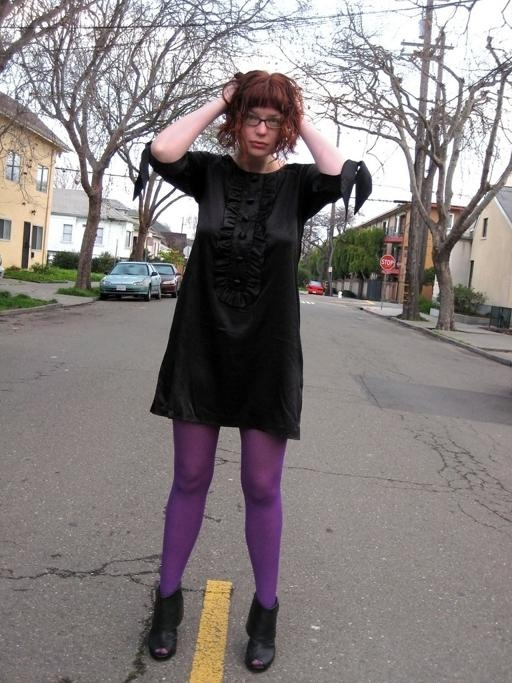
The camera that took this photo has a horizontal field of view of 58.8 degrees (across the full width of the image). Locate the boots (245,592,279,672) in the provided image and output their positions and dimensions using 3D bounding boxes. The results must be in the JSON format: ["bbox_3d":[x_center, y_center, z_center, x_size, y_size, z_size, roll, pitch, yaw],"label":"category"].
[{"bbox_3d":[0.021,0.883,1.385,0.058,0.150,0.189,1,-8,8],"label":"boots"}]

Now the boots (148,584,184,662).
[{"bbox_3d":[-0.276,0.851,1.405,0.069,0.142,0.226,-5,3,3],"label":"boots"}]

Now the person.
[{"bbox_3d":[-0.050,0.085,1.364,0.610,1.642,0.282,4,-1,0],"label":"person"}]
